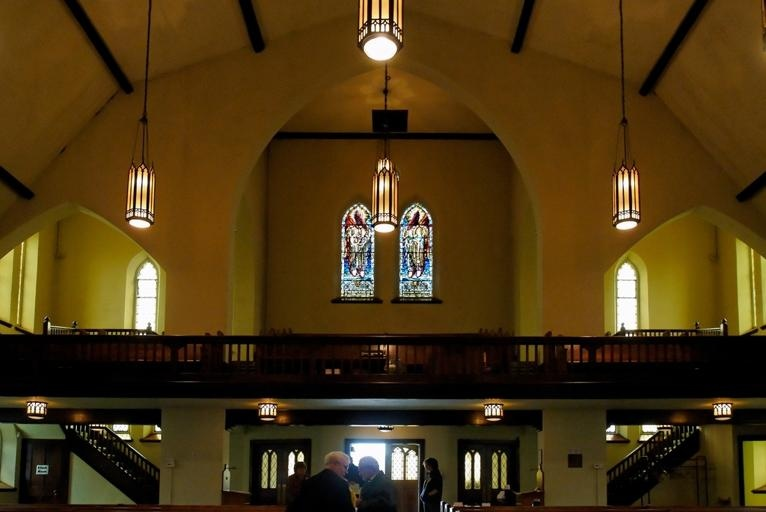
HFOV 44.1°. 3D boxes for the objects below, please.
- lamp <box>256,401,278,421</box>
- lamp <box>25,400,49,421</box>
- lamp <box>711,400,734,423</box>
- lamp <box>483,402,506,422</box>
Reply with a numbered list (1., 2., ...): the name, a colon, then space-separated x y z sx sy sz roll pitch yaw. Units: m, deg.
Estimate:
1. lamp: -2.848 3.828 23.255 0.530 0.450 0.567 -10 -20 26
2. lamp: -8.495 3.767 23.264 0.593 0.502 0.648 0 -21 1
3. lamp: 8.379 3.752 23.148 0.557 0.544 0.675 2 -7 -21
4. lamp: 2.756 3.853 23.391 0.518 0.364 0.566 -5 -19 11
